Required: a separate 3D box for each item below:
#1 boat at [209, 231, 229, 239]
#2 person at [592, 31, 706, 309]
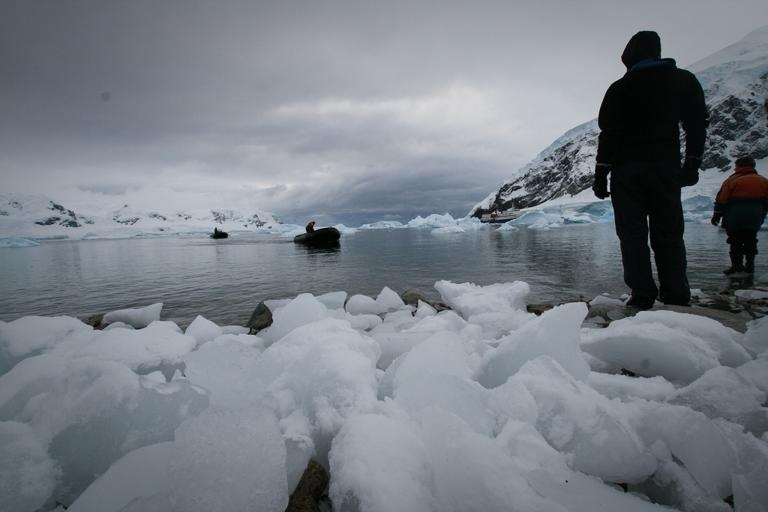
[{"bbox_3d":[-29.959,-3.944,82.159,2.693,1.486,3.731,-7,7,-35],"label":"boat"},{"bbox_3d":[3.593,-0.994,6.221,1.310,3.338,0.529,0,4,26],"label":"person"}]
